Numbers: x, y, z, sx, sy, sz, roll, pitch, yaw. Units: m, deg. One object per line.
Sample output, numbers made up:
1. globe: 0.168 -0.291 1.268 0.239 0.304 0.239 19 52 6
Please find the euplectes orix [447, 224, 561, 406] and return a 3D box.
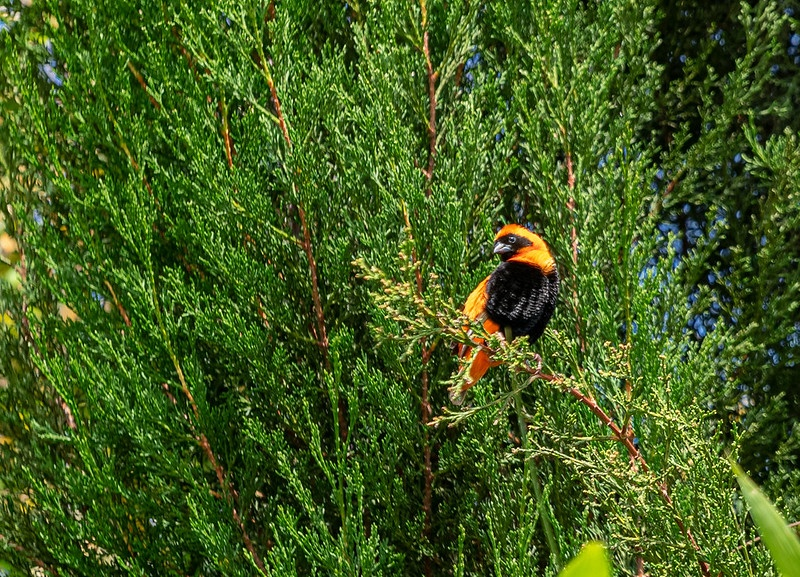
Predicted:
1. euplectes orix: 0.532 0.071 5.030 0.462 0.824 0.366 -9 -23 18
